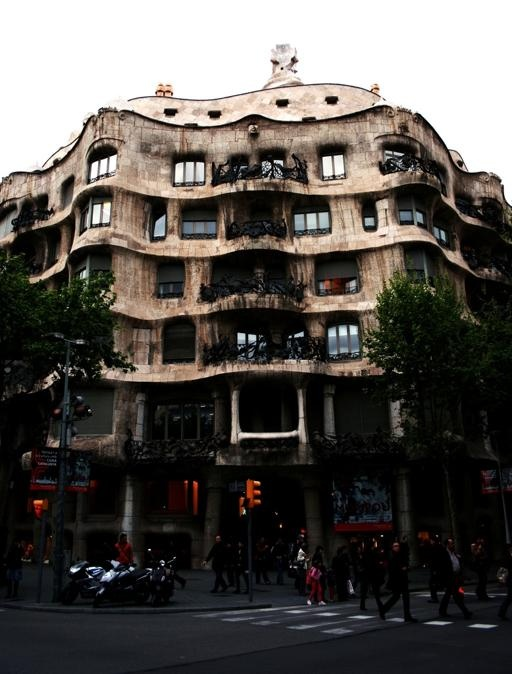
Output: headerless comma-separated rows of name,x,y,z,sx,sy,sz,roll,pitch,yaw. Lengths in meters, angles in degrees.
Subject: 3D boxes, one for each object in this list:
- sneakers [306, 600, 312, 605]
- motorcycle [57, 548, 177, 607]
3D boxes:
sneakers,1.539,7.612,15.561,0.120,0.139,0.325,0,-40,-2
motorcycle,-3.666,6.780,14.962,2.878,1.189,1.785,1,-19,-10
